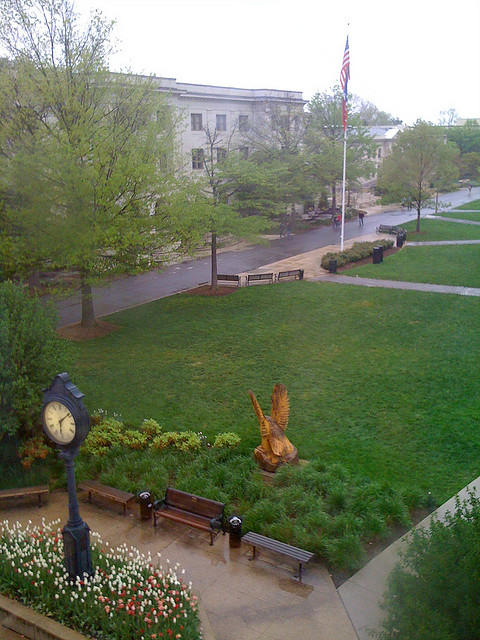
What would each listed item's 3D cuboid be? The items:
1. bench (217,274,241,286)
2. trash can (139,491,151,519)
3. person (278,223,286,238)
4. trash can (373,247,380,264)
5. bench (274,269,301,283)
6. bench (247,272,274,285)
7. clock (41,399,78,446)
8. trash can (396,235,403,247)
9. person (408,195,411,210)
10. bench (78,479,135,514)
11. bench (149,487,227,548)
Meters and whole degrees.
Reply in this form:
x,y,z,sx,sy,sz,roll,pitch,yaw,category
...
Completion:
x,y,z,sx,sy,sz,roll,pitch,yaw,category
-0.546,-1.969,28.950,0.824,0.389,0.311,2,49,4,bench
-1.670,3.320,10.929,0.206,0.417,0.229,-5,15,-12,trash can
3.128,-6.572,45.396,0.431,0.894,2.062,1,15,11,person
7.408,-3.446,33.415,0.335,0.807,0.376,2,15,13,trash can
2.308,-2.178,30.487,1.574,0.453,0.772,-10,17,-28,bench
0.996,-1.966,29.804,1.393,0.530,1.130,-4,15,-9,bench
-2.315,1.318,7.920,0.135,0.615,0.739,-15,20,-43,clock
9.910,-4.850,38.106,0.314,0.706,0.361,1,15,10,trash can
11.912,-8.419,43.281,0.187,0.563,1.117,2,15,15,person
-2.459,3.270,11.420,1.388,0.407,0.341,10,19,37,bench
-0.850,3.325,10.582,1.362,0.617,0.652,7,17,29,bench
